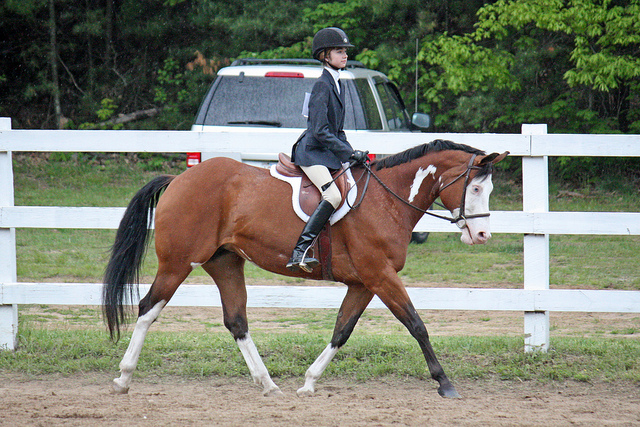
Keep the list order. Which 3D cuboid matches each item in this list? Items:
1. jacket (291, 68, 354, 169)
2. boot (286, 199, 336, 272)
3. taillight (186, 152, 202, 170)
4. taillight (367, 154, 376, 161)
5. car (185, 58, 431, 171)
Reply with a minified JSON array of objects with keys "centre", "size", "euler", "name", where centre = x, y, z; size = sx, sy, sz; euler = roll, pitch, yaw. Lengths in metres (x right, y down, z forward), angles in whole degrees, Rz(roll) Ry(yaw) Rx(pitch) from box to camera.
[{"centre":[0.205,-1.668,23.359],"size":[1.349,1.882,0.971],"euler":[12,15,35],"name":"jacket"},{"centre":[-0.089,0.324,23.010],"size":[0.590,1.260,0.377],"euler":[14,-10,26],"name":"boot"},{"centre":[-2.507,-1.046,25.842],"size":[0.404,0.353,0.674],"euler":[0,-1,0],"name":"taillight"},{"centre":[1.058,-1.155,25.915],"size":[0.219,0.194,0.123],"euler":[0,-6,-10],"name":"taillight"},{"centre":[-0.184,-2.533,27.499],"size":[2.949,1.920,4.088],"euler":[2,10,20],"name":"car"}]
